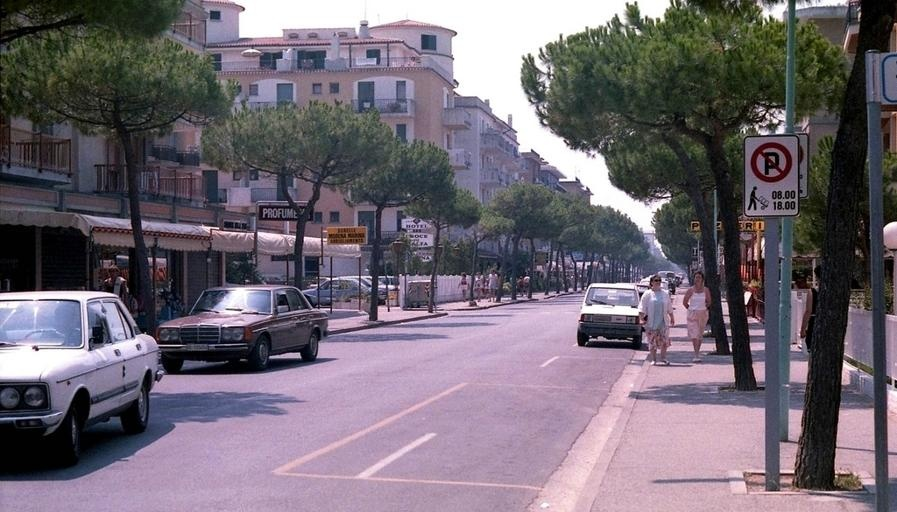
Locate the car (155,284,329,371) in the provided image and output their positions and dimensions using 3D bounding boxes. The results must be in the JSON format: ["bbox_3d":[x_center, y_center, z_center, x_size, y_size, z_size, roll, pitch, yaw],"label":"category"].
[{"bbox_3d":[-5.504,1.919,27.713,2.223,2.298,4.425,-2,-1,35],"label":"car"}]

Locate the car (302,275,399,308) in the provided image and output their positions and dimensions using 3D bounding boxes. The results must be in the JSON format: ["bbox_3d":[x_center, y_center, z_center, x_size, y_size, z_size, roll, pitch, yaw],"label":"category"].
[{"bbox_3d":[-5.954,2.500,60.646,5.169,1.685,2.480,0,0,12],"label":"car"}]
